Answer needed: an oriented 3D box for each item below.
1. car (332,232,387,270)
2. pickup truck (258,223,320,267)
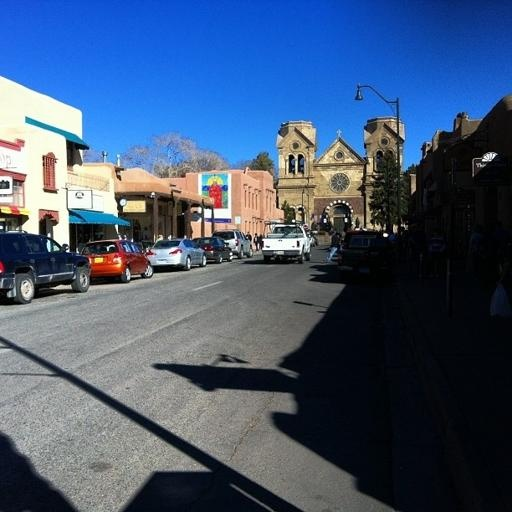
[{"bbox_3d":[4.077,-0.213,18.515,1.018,1.247,2.052,0,12,11],"label":"car"},{"bbox_3d":[1.885,-0.703,30.952,2.400,2.589,3.398,-2,4,19],"label":"pickup truck"}]
